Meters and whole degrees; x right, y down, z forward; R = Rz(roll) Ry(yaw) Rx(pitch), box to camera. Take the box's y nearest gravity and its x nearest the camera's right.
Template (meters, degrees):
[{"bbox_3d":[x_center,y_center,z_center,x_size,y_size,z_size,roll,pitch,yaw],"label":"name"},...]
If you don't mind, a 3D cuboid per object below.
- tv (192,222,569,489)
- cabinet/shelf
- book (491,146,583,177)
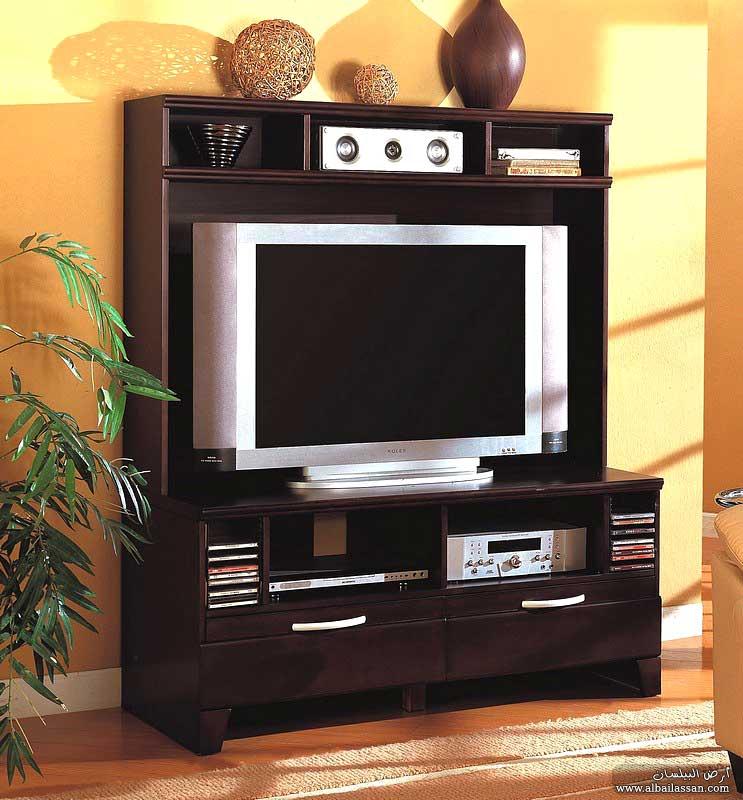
[{"bbox_3d":[-0.013,-0.140,2.608,0.972,0.556,0.130,-2,2,-23],"label":"tv"},{"bbox_3d":[0.049,-0.019,2.683,1.523,1.890,0.549,1,-3,-24],"label":"cabinet/shelf"},{"bbox_3d":[0.517,-0.738,2.735,0.164,0.034,0.162,-4,9,-28],"label":"book"}]
